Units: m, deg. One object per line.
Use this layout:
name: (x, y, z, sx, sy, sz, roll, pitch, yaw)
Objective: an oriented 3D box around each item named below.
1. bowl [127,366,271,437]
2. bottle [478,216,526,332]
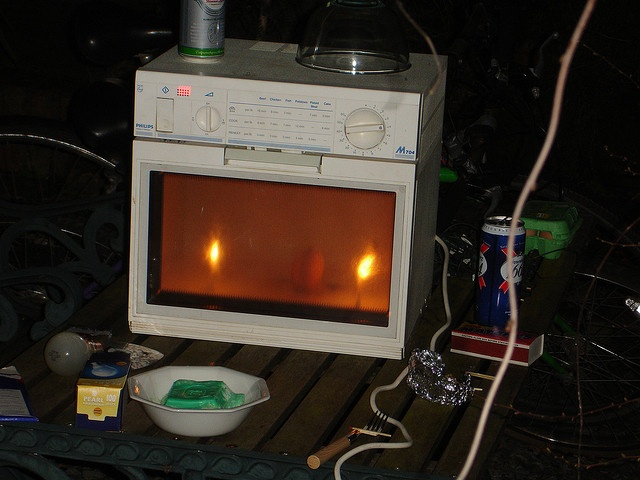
bowl: (-0.342, 0.447, 1.694, 0.389, 0.155, 0.209, 6, 21, -7)
bottle: (0.581, 0.111, 2.074, 0.141, 0.392, 0.198, 8, 14, 23)
